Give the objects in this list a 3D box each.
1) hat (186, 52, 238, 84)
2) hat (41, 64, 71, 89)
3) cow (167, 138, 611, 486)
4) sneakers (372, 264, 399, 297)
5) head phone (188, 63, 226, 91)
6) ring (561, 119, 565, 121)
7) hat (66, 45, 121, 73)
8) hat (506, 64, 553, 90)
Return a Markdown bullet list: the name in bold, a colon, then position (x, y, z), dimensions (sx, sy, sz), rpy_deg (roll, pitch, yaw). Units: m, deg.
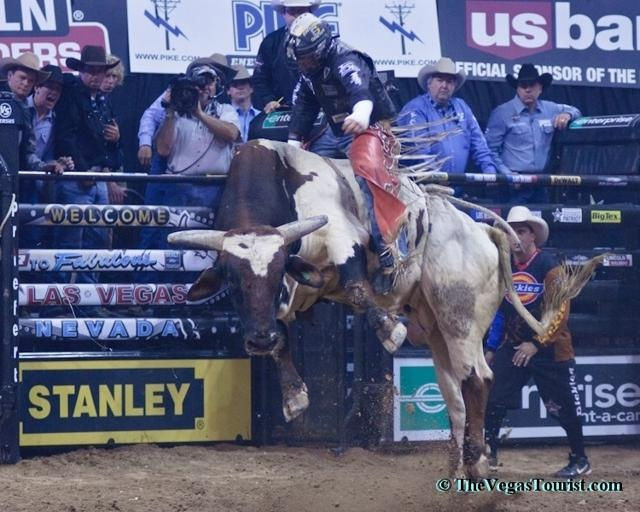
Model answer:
- **hat**: position (-1.186, -2.228, 21.271), dimensions (0.404, 0.161, 0.439), rpy_deg (-6, -18, -9)
- **hat**: position (-2.985, -1.994, 20.426), dimensions (0.320, 0.260, 0.406), rpy_deg (-3, 7, -9)
- **cow**: position (0.575, 0.525, 19.334), dimensions (1.865, 3.148, 6.244), rpy_deg (-16, -20, 32)
- **sneakers**: position (0.658, 0.270, 18.867), dimensions (0.244, 0.299, 0.091), rpy_deg (3, 3, 4)
- **head phone**: position (-1.308, -2.046, 20.856), dimensions (0.268, 0.302, 0.168), rpy_deg (0, 46, -2)
- **ring**: position (2.853, -1.586, 21.462), dimensions (0.028, 0.012, 0.034), rpy_deg (0, 49, 13)
- **hat**: position (-2.588, -2.219, 20.718), dimensions (0.411, 0.163, 0.421), rpy_deg (-1, -10, -20)
- **hat**: position (2.535, -2.100, 21.832), dimensions (0.365, 0.146, 0.379), rpy_deg (-2, -14, 8)
